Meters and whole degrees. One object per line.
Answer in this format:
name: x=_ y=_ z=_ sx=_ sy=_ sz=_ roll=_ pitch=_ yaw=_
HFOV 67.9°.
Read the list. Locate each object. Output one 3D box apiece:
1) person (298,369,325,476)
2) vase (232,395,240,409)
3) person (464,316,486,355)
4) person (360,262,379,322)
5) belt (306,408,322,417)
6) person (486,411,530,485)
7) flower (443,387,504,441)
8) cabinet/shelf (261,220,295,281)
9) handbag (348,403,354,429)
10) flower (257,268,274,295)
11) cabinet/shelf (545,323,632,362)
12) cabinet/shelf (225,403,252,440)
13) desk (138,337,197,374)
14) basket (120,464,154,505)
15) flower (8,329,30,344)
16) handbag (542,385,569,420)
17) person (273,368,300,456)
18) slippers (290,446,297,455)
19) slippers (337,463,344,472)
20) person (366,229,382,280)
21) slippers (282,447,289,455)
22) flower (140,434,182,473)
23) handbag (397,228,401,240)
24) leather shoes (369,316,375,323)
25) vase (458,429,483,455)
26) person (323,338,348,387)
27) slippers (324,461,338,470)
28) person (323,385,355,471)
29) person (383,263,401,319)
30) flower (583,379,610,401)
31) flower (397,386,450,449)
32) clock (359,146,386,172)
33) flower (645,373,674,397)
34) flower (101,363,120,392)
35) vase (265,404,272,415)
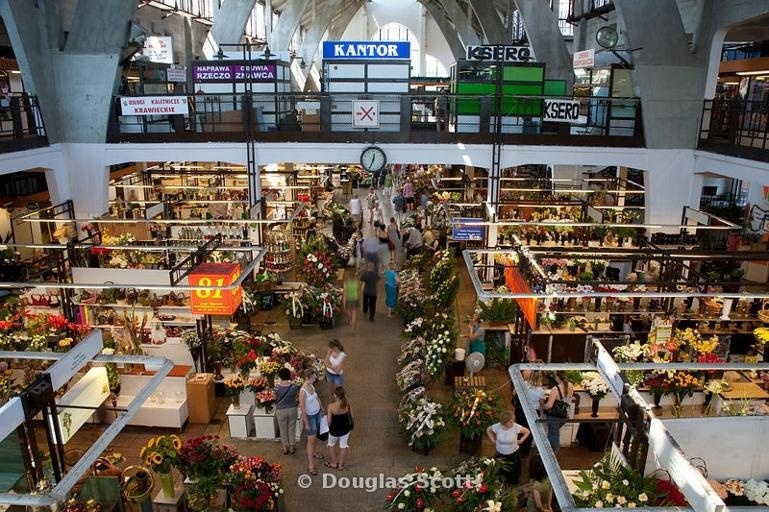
person: x=-1.394 y=3.029 z=10.899 sx=0.385 sy=2.092 sz=0.641 roll=-2 pitch=11 yaw=-2
vase: x=-3.019 y=2.940 z=11.626 sx=0.126 sy=0.290 sz=0.154 roll=-7 pitch=12 yaw=-25
person: x=2.076 y=1.818 z=12.898 sx=0.357 sy=0.897 sz=0.840 roll=0 pitch=11 yaw=10
person: x=-0.408 y=0.889 z=16.327 sx=0.478 sy=1.657 sz=1.218 roll=-2 pitch=11 yaw=-2
belt: x=-1.311 y=2.965 z=10.809 sx=0.128 sy=0.208 sz=0.220 roll=0 pitch=12 yaw=35
person: x=2.317 y=3.565 z=10.513 sx=0.743 sy=1.570 sz=0.432 roll=-5 pitch=19 yaw=10
flower: x=1.780 y=3.237 z=11.632 sx=0.938 sy=0.915 sz=0.959 roll=-11 pitch=30 yaw=-4
cabinet/shelf: x=-3.250 y=-0.126 z=17.635 sx=0.909 sy=1.772 sz=2.053 roll=-4 pitch=11 yaw=-10
handbag: x=-0.627 y=3.014 z=10.698 sx=0.125 sy=0.450 sz=0.326 roll=0 pitch=8 yaw=-4
flower: x=-3.442 y=0.745 z=16.730 sx=0.546 sy=0.506 sz=0.636 roll=-1 pitch=4 yaw=-3
cabinet/shelf: x=4.344 y=1.889 z=12.344 sx=1.189 sy=0.639 sz=0.360 roll=0 pitch=27 yaw=2
cabinet/shelf: x=-2.956 y=3.368 z=11.952 sx=0.609 sy=0.678 sz=0.714 roll=0 pitch=12 yaw=2
desk: x=-4.935 y=2.196 z=13.151 sx=1.257 sy=0.647 sz=0.287 roll=1 pitch=11 yaw=13
basket: x=-4.221 y=3.910 z=9.753 sx=0.481 sy=0.524 sz=0.429 roll=-7 pitch=12 yaw=-26
flower: x=-7.662 y=1.704 z=12.004 sx=0.311 sy=0.142 sz=0.317 roll=2 pitch=-2 yaw=22
handbag: x=3.407 y=2.838 z=10.982 sx=0.379 sy=0.536 sz=0.331 roll=3 pitch=-2 yaw=22
person: x=-1.915 y=3.038 z=11.270 sx=0.433 sy=1.739 sz=0.408 roll=-4 pitch=11 yaw=-12
slippers: x=-1.795 y=3.856 z=11.328 sx=0.081 sy=0.063 sz=0.157 roll=2 pitch=31 yaw=-3
slippers: x=-0.844 y=4.042 z=10.917 sx=0.090 sy=0.061 sz=0.233 roll=1 pitch=20 yaw=-1
person: x=-0.369 y=-0.024 z=16.294 sx=0.539 sy=1.541 sz=0.462 roll=1 pitch=19 yaw=-2
slippers: x=-1.955 y=3.873 z=11.330 sx=0.073 sy=0.141 sz=0.055 roll=2 pitch=-4 yaw=3
flower: x=-3.767 y=3.453 z=9.725 sx=0.682 sy=0.677 sz=0.496 roll=-4 pitch=11 yaw=-13
handbag: x=0.588 y=-0.824 z=22.326 sx=0.194 sy=0.269 sz=0.083 roll=-4 pitch=0 yaw=-4
leather shoes: x=-0.358 y=1.783 z=15.951 sx=0.137 sy=0.161 sz=0.380 roll=0 pitch=-5 yaw=0
vase: x=1.707 y=3.755 z=11.298 sx=0.450 sy=0.624 sz=0.452 roll=1 pitch=18 yaw=12
person: x=-1.055 y=2.273 z=12.100 sx=0.412 sy=1.079 sz=0.356 roll=-3 pitch=11 yaw=-4
slippers: x=-1.014 y=4.026 z=10.976 sx=0.211 sy=0.057 sz=0.097 roll=4 pitch=7 yaw=-3
person: x=-0.874 y=3.154 z=10.845 sx=0.505 sy=1.835 sz=1.056 roll=-3 pitch=11 yaw=-7
person: x=0.232 y=1.005 z=16.206 sx=0.376 sy=1.373 sz=0.899 roll=-2 pitch=11 yaw=1
flower: x=4.186 y=2.615 z=11.223 sx=0.473 sy=0.484 sz=0.186 roll=3 pitch=19 yaw=26
flower: x=0.825 y=3.266 z=11.753 sx=0.999 sy=1.314 sz=1.289 roll=-1 pitch=9 yaw=-9
clock: x=-0.343 y=-2.853 z=16.604 sx=0.718 sy=0.812 sz=0.135 roll=0 pitch=9 yaw=-5
flower: x=5.295 y=2.480 z=11.006 sx=0.457 sy=0.485 sz=0.540 roll=3 pitch=12 yaw=22
flower: x=-5.613 y=2.510 z=11.824 sx=0.190 sy=0.686 sz=0.513 roll=-1 pitch=11 yaw=4
vase: x=-2.327 y=3.078 z=11.470 sx=0.179 sy=0.187 sz=0.180 roll=0 pitch=-2 yaw=-1
